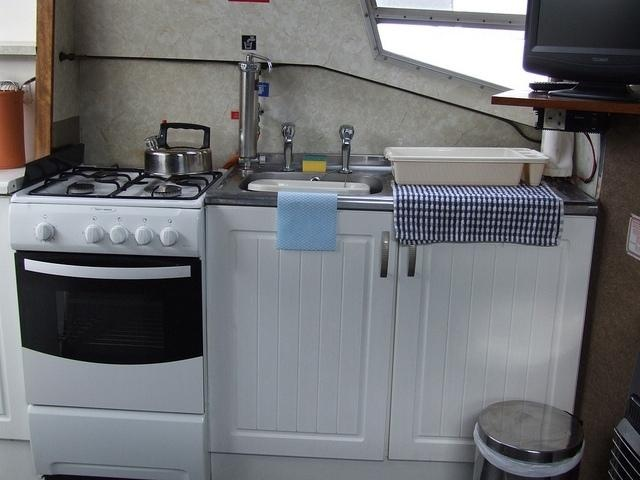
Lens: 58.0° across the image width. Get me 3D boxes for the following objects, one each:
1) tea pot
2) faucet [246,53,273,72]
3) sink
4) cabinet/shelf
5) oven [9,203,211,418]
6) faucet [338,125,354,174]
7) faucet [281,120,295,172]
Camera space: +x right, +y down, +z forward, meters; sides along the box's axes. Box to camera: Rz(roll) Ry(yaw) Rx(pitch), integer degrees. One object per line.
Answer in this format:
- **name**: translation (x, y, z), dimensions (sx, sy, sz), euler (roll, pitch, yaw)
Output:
- **tea pot**: translation (-0.607, -0.395, 2.511), dimensions (0.285, 0.233, 0.277), euler (0, 9, 0)
- **faucet**: translation (-0.269, -0.805, 2.588), dimensions (0.103, 0.083, 0.179), euler (1, 12, -2)
- **sink**: translation (-0.041, -0.257, 2.533), dimensions (0.384, 0.093, 0.232), euler (2, 18, 0)
- **cabinet/shelf**: translation (0.259, 0.365, 2.522), dimensions (1.451, 1.065, 0.520), euler (2, 8, -3)
- **oven**: translation (-0.779, 0.275, 2.500), dimensions (0.831, 0.933, 0.704), euler (3, 8, 16)
- **faucet**: translation (0.116, -0.416, 2.631), dimensions (0.056, 0.215, 0.141), euler (2, 11, 3)
- **faucet**: translation (-0.151, -0.433, 2.670), dimensions (0.061, 0.219, 0.171), euler (1, 11, -3)
